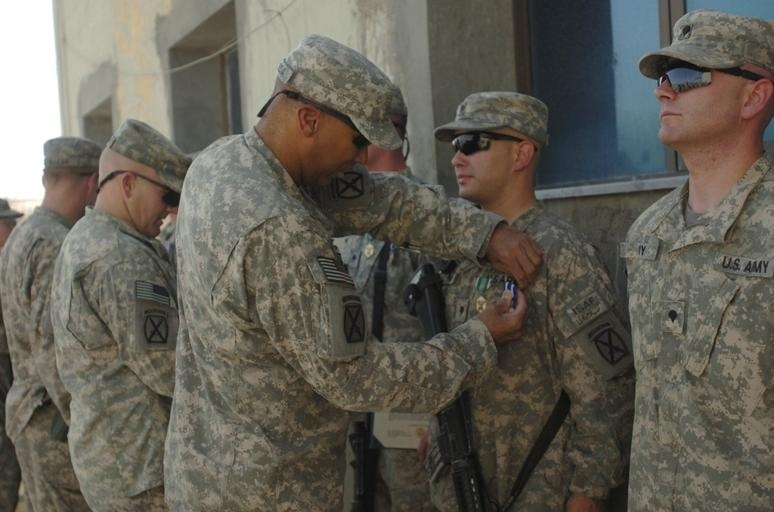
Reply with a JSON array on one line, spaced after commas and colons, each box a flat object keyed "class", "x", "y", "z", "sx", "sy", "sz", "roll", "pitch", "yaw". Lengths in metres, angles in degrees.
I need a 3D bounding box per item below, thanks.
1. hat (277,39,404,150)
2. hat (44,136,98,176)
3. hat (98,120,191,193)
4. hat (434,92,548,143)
[{"class": "hat", "x": -0.266, "y": -0.871, "z": 8.278, "sx": 0.739, "sy": 0.534, "sz": 0.267, "roll": 33, "pitch": -59, "yaw": -15}, {"class": "hat", "x": -2.375, "y": -0.770, "z": 10.692, "sx": 0.380, "sy": 0.297, "sz": 0.541, "roll": 2, "pitch": 2, "yaw": 14}, {"class": "hat", "x": -1.528, "y": -0.698, "z": 9.652, "sx": 0.790, "sy": 0.275, "sz": 0.527, "roll": 25, "pitch": 5, "yaw": -20}, {"class": "hat", "x": 0.705, "y": -0.902, "z": 9.035, "sx": 0.511, "sy": 0.204, "sz": 0.386, "roll": 1, "pitch": -2, "yaw": -8}]
